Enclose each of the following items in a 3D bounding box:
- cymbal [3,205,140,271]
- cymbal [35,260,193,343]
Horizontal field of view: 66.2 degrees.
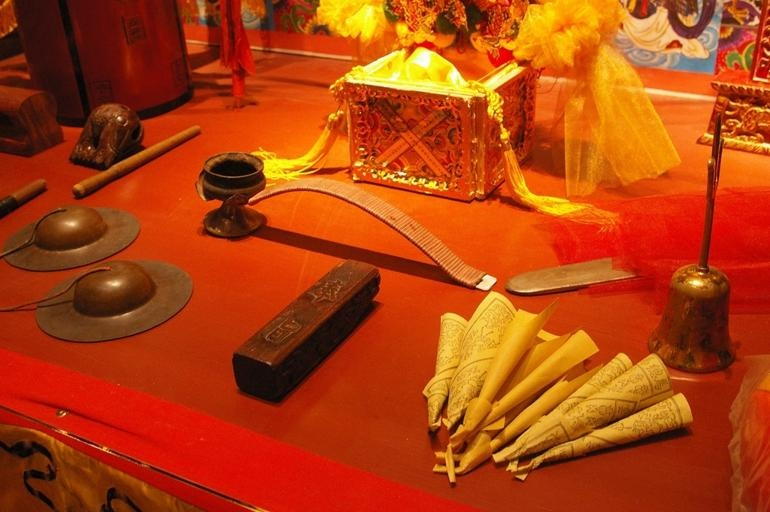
[{"bbox_3d":[-1.172,-0.091,2.192,0.488,0.142,0.358,-11,34,-22],"label":"cymbal"},{"bbox_3d":[-0.835,0.154,1.904,0.320,0.080,0.325,19,38,25],"label":"cymbal"}]
